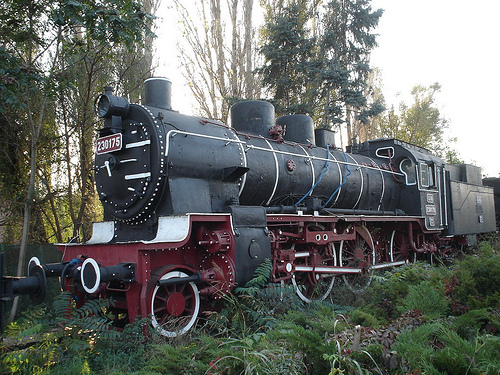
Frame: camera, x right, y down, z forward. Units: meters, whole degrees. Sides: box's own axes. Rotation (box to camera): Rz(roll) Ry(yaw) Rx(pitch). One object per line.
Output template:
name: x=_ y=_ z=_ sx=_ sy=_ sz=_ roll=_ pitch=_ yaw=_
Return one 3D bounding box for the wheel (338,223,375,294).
wheel: x=2.691 y=1.721 z=9.605 sx=0.661 sy=1.636 sz=1.751 roll=-1 pitch=-7 yaw=28

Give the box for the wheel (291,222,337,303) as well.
wheel: x=1.342 y=1.651 z=8.278 sx=0.190 sy=1.904 sz=1.590 roll=-6 pitch=-9 yaw=40

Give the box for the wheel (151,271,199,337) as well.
wheel: x=-1.205 y=1.842 z=6.001 sx=0.849 sy=1.026 sz=0.181 roll=11 pitch=-19 yaw=-33

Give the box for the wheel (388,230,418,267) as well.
wheel: x=4.475 y=1.794 z=11.263 sx=0.982 sy=1.038 sz=0.126 roll=4 pitch=-7 yaw=-36
